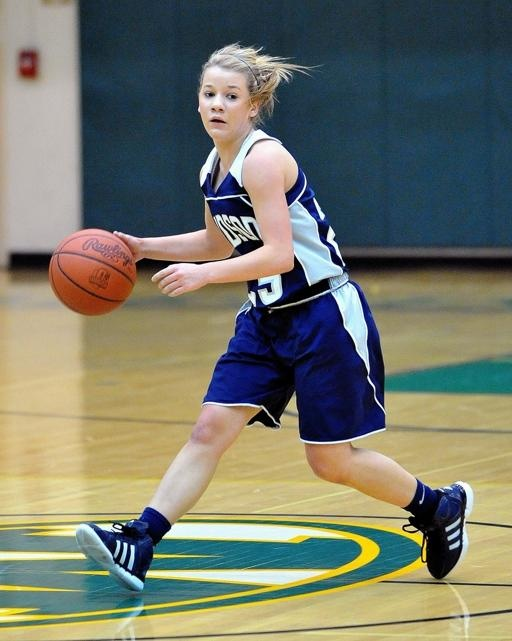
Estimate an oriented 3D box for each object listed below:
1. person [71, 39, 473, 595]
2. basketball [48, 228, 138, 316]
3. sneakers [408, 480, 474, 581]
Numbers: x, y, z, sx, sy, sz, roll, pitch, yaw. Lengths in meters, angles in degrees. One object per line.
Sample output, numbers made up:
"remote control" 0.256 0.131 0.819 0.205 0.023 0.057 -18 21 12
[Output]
"person" 0.059 -0.029 1.619 0.925 1.210 0.385 -3 3 -13
"basketball" -0.380 -0.114 1.806 0.224 0.203 0.199 -4 16 -15
"sneakers" 0.414 0.474 1.742 0.121 0.251 0.089 34 -42 -12
